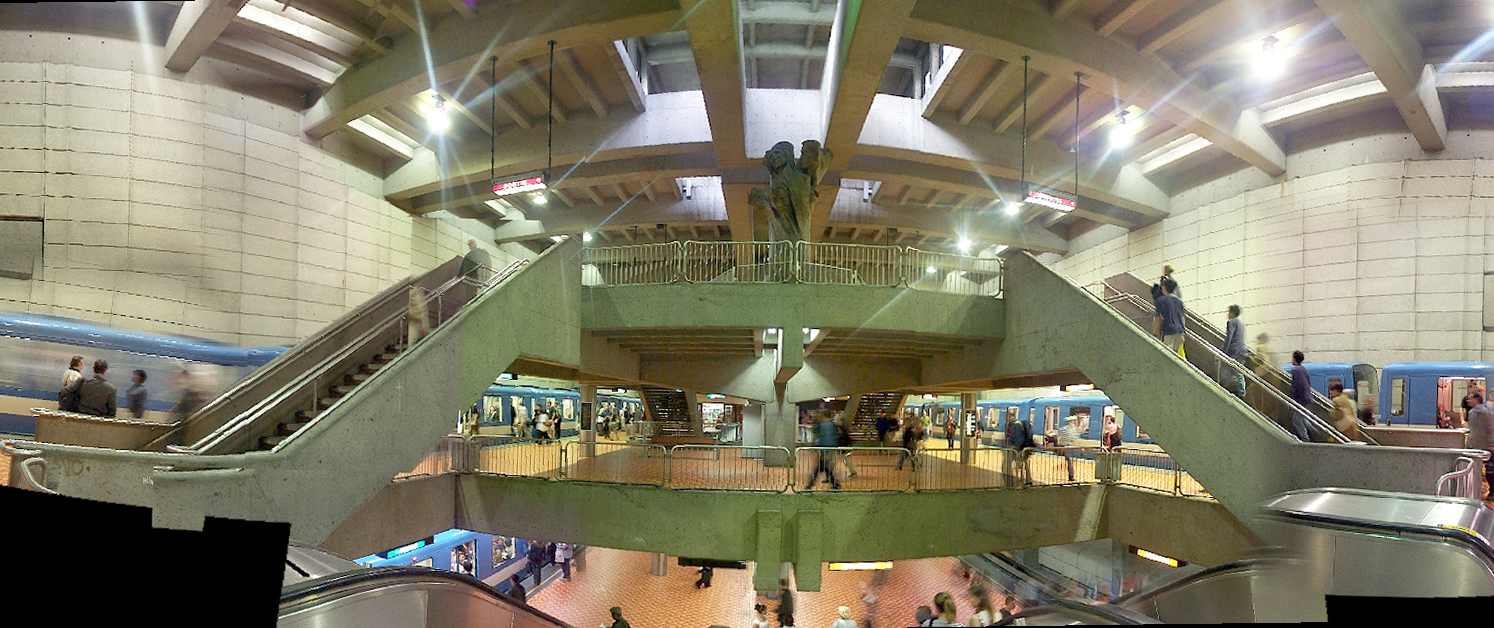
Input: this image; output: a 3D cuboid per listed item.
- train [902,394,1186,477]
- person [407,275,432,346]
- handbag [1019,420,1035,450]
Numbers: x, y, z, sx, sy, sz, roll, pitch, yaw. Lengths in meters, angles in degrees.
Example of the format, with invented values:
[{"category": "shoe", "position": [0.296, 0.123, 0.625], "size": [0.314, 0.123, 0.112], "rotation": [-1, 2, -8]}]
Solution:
[{"category": "train", "position": [12.272, 4.697, 34.846], "size": [2.785, 2.228, 17.385], "rotation": [2, 1, -9]}, {"category": "person", "position": [-9.360, 0.009, 23.851], "size": [0.642, 1.817, 1.220], "rotation": [6, -14, -21]}, {"category": "handbag", "position": [9.134, 3.971, 27.361], "size": [0.767, 0.960, 0.314], "rotation": [-1, -34, 10]}]
